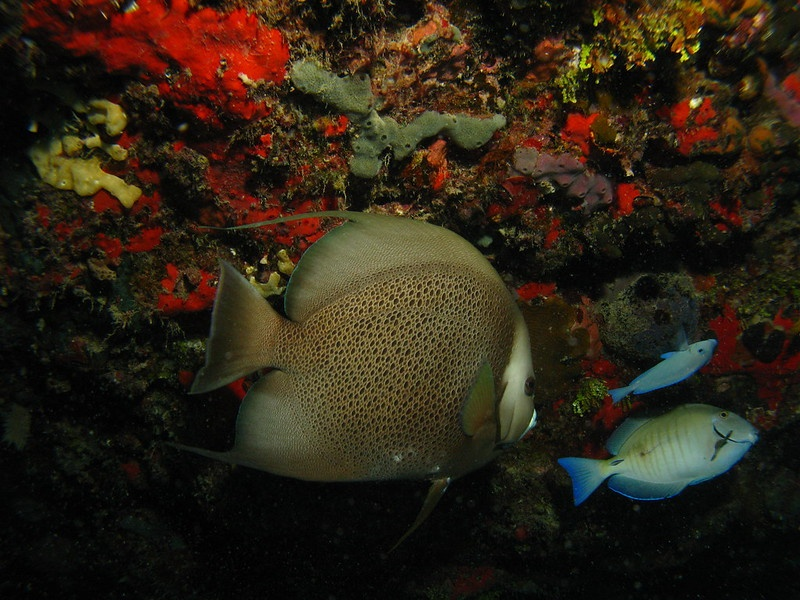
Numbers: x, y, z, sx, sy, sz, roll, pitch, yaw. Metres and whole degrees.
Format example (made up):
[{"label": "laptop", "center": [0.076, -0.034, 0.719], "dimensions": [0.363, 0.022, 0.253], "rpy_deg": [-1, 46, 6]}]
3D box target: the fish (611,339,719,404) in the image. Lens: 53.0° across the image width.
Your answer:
[{"label": "fish", "center": [2.222, 0.602, 6.853], "dimensions": [0.343, 0.768, 0.253], "rpy_deg": [61, 4, 4]}]
